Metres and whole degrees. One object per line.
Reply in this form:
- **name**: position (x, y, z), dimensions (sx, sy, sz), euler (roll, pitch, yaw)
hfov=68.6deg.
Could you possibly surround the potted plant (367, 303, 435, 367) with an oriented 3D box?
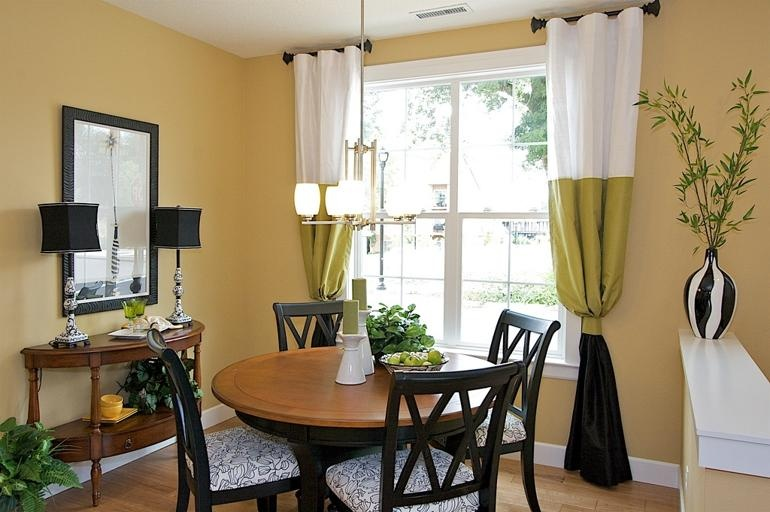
- **potted plant**: position (0.120, 0.439, 3.657), dimensions (0.286, 0.213, 0.304), euler (4, -7, -36)

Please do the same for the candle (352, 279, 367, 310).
- **candle**: position (-0.178, 0.237, 3.544), dimensions (0.079, 0.196, 0.140), euler (-5, 4, -40)

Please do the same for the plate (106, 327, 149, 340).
- **plate**: position (-1.898, 0.579, 4.208), dimensions (0.171, 0.036, 0.173), euler (2, 2, 3)

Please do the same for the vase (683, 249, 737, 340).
- **vase**: position (2.229, 0.259, 3.893), dimensions (0.303, 0.628, 0.145), euler (0, 4, 26)

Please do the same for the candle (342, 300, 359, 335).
- **candle**: position (-0.212, 0.367, 3.407), dimensions (0.091, 0.198, 0.061), euler (-1, 4, 11)

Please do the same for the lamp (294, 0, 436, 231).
- **lamp**: position (-0.158, -1.077, 4.342), dimensions (1.096, 1.751, 2.078), euler (-2, 3, -9)

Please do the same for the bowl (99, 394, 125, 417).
- **bowl**: position (-2.054, 1.119, 4.250), dimensions (0.144, 0.109, 0.151), euler (0, -7, 0)

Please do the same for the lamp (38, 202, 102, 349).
- **lamp**: position (-2.216, 0.124, 4.023), dimensions (0.422, 1.003, 0.337), euler (0, 4, 26)

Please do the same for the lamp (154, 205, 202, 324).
- **lamp**: position (-1.716, 0.071, 4.659), dimensions (0.343, 0.964, 0.420), euler (-5, 5, -42)
